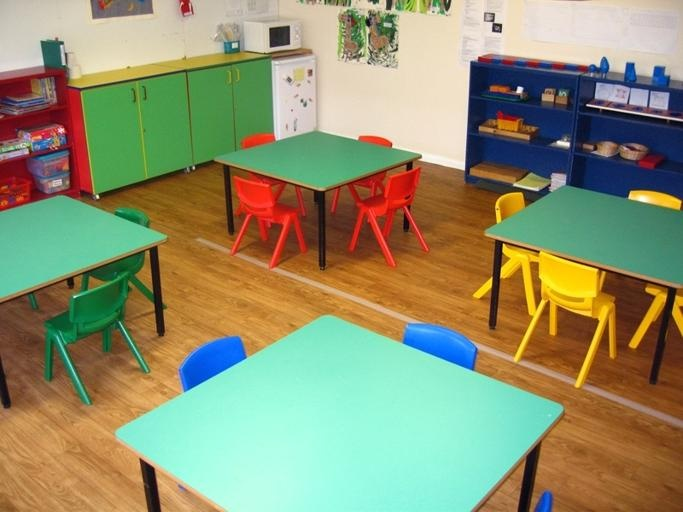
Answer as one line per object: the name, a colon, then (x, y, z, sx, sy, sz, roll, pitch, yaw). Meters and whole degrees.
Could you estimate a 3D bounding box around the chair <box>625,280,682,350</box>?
chair: (2.441, 0.484, 4.029, 0.359, 0.433, 0.347, -30, 43, -35)

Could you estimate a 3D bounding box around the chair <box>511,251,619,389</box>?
chair: (1.668, 0.400, 3.769, 0.635, 0.819, 0.540, -22, 27, -40)

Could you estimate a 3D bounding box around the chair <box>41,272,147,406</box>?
chair: (-1.760, 0.517, 3.641, 0.509, 0.744, 0.583, 19, 23, 28)

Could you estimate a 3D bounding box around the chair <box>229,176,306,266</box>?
chair: (-0.734, -0.404, 5.224, 0.581, 0.794, 0.568, 18, 27, 30)

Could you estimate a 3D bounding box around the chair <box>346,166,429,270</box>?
chair: (0.451, -0.444, 5.294, 0.655, 0.812, 0.638, 12, 20, 35)

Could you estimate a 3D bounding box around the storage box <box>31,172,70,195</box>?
storage box: (-3.591, -0.898, 6.384, 0.276, 0.180, 0.364, 18, 27, 35)

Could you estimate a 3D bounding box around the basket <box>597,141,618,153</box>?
basket: (3.117, -1.293, 6.071, 0.168, 0.071, 0.170, -16, 36, -21)

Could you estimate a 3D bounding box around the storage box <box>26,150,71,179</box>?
storage box: (-3.552, -1.180, 6.251, 0.391, 0.235, 0.386, -15, 27, -30)

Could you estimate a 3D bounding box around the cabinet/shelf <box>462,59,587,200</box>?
cabinet/shelf: (2.340, -1.627, 6.491, 1.715, 1.931, 0.648, 15, 31, 27)

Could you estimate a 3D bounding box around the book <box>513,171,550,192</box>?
book: (2.441, -0.962, 6.640, 0.309, 0.093, 0.324, 24, 38, 35)

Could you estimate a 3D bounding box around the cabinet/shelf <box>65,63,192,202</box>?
cabinet/shelf: (-2.816, -1.672, 6.829, 0.555, 1.380, 1.611, 20, 32, 24)

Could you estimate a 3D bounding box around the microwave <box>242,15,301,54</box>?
microwave: (-1.108, -3.479, 8.091, 0.553, 0.432, 0.791, 23, 37, 31)

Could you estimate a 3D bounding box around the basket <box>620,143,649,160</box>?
basket: (3.405, -1.225, 6.026, 0.302, 0.128, 0.353, 16, 32, 26)

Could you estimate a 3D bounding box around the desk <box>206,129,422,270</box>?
desk: (-0.758, -0.479, 5.390, 1.667, 0.678, 1.604, 3, 10, -39)
